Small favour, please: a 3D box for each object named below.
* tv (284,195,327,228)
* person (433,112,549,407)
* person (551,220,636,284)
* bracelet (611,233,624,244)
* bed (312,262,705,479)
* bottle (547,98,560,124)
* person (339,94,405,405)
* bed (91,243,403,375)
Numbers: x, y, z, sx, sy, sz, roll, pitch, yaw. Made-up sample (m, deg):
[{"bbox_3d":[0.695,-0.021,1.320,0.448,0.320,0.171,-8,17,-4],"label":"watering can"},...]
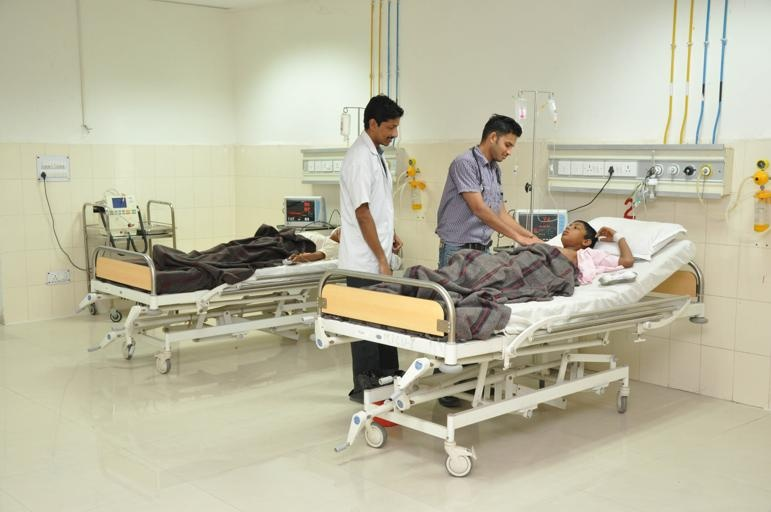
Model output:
[{"bbox_3d":[-0.819,-0.461,6.076,0.561,0.396,0.296,1,3,18],"label":"tv"},{"bbox_3d":[0.732,0.040,3.907,0.702,2.021,0.757,6,1,-14],"label":"person"},{"bbox_3d":[1.472,-0.078,4.152,0.621,0.338,0.917,11,4,11],"label":"person"},{"bbox_3d":[1.622,-0.127,3.963,0.068,0.044,0.066,-12,13,-26],"label":"bracelet"},{"bbox_3d":[0.923,0.592,3.873,2.430,1.140,1.293,-3,5,-33],"label":"bed"},{"bbox_3d":[1.316,-1.167,4.470,0.100,0.223,0.529,3,11,16],"label":"bottle"},{"bbox_3d":[-0.079,-0.044,3.883,0.546,1.981,0.680,2,11,11],"label":"person"},{"bbox_3d":[-1.180,0.320,5.129,2.406,0.802,1.205,-7,12,-39],"label":"bed"}]
